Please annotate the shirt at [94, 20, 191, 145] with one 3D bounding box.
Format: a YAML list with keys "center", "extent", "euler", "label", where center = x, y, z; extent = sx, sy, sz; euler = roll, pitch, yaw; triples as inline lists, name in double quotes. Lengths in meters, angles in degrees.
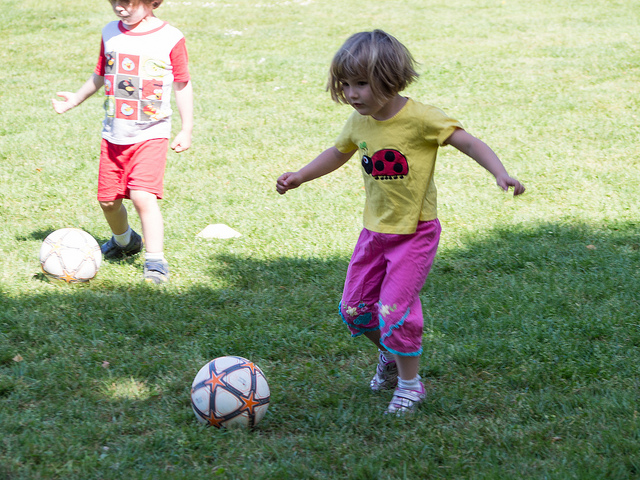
- center: [-1.404, -1.197, 5.046]
  extent: [0.732, 1.026, 0.576]
  euler: [-1, 30, -9]
  label: "shirt"

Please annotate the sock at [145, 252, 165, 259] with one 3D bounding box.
- center: [-1.316, 0.126, 5.002]
  extent: [0.135, 0.067, 0.096]
  euler: [-2, 37, -10]
  label: "sock"

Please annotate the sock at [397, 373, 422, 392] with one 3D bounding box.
- center: [0.524, 0.813, 3.585]
  extent: [0.140, 0.091, 0.084]
  euler: [2, 38, -5]
  label: "sock"

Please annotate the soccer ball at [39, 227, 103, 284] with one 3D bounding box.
- center: [-1.948, 0.129, 4.928]
  extent: [0.427, 0.324, 0.427]
  euler: [4, 36, -3]
  label: "soccer ball"

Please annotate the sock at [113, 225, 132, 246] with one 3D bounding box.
- center: [-1.635, -0.035, 5.338]
  extent: [0.149, 0.142, 0.159]
  euler: [-12, 15, -4]
  label: "sock"

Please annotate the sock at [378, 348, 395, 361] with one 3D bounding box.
- center: [0.403, 0.676, 3.717]
  extent: [0.093, 0.039, 0.034]
  euler: [43, 16, 26]
  label: "sock"
